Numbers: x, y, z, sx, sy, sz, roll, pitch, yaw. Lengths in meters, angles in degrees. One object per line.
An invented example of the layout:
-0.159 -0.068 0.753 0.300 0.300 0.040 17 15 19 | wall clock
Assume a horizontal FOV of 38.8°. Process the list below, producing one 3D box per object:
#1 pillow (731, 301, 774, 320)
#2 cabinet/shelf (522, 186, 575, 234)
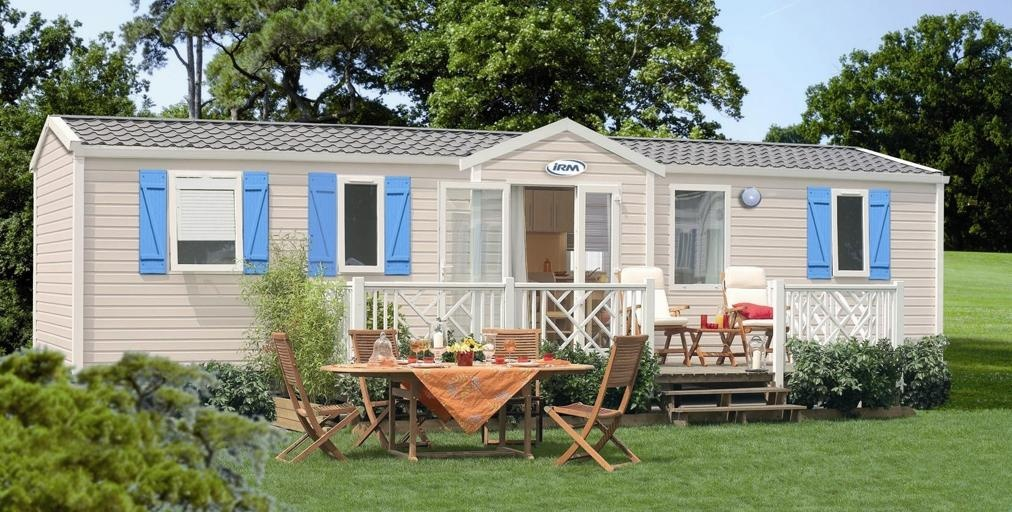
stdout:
7.322 1.650 43.113 1.131 0.487 0.581 0 -4 1 | pillow
1.275 -1.432 45.621 1.618 1.204 0.581 0 -2 -6 | cabinet/shelf
